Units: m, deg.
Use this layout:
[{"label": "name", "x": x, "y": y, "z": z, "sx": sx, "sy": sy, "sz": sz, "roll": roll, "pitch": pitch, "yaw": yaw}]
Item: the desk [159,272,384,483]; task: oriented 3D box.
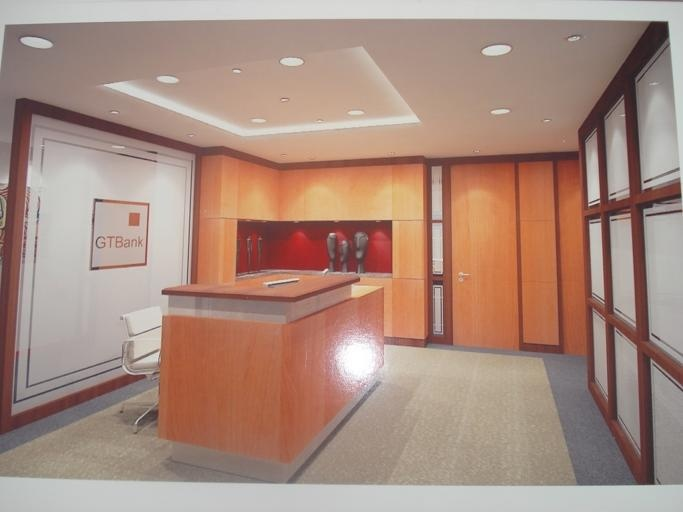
[{"label": "desk", "x": -0.471, "y": 0.922, "z": 4.375, "sx": 1.050, "sy": 1.203, "sz": 2.446, "roll": 1, "pitch": -2, "yaw": 15}]
